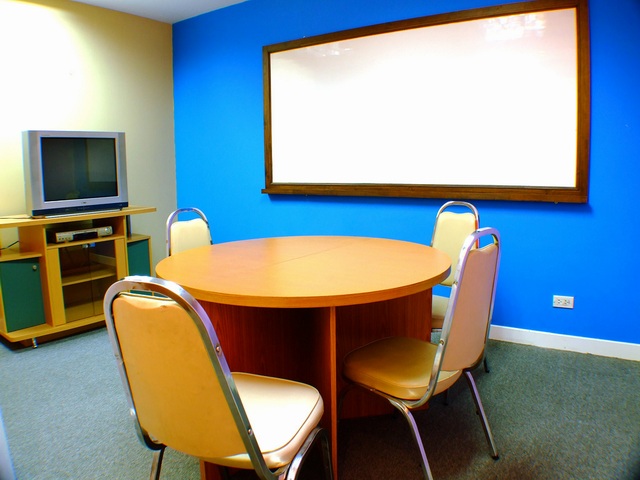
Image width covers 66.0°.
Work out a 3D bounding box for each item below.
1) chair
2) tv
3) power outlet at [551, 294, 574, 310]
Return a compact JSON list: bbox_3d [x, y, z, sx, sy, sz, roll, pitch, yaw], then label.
[{"bbox_3d":[-0.147,0.605,2.616,1.761,1.369,1.151,-7,15,-27],"label":"chair"},{"bbox_3d":[-2.167,-0.563,4.337,0.355,0.663,0.678,5,9,39],"label":"tv"},{"bbox_3d":[1.898,0.481,3.843,0.155,0.118,0.036,5,4,25],"label":"power outlet"}]
